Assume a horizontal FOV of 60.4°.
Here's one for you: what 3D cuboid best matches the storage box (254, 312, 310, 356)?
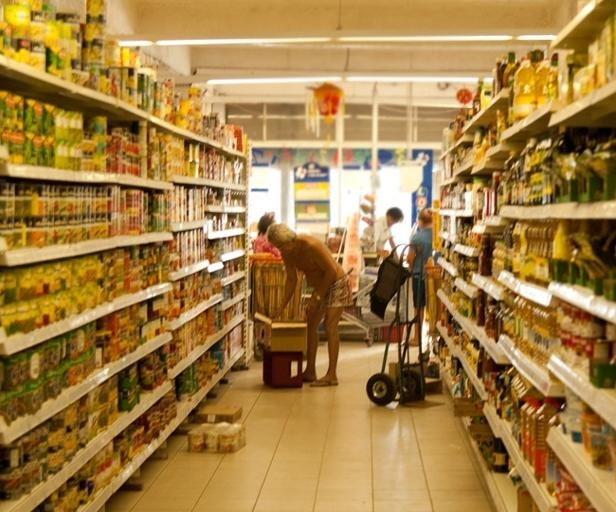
[{"bbox_3d":[-0.198,0.837,6.326,0.614,0.422,0.706,-1,8,24],"label":"storage box"}]

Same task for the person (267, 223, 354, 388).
[{"bbox_3d":[0.051,0.571,6.234,0.926,1.884,0.523,0,2,1],"label":"person"}]
